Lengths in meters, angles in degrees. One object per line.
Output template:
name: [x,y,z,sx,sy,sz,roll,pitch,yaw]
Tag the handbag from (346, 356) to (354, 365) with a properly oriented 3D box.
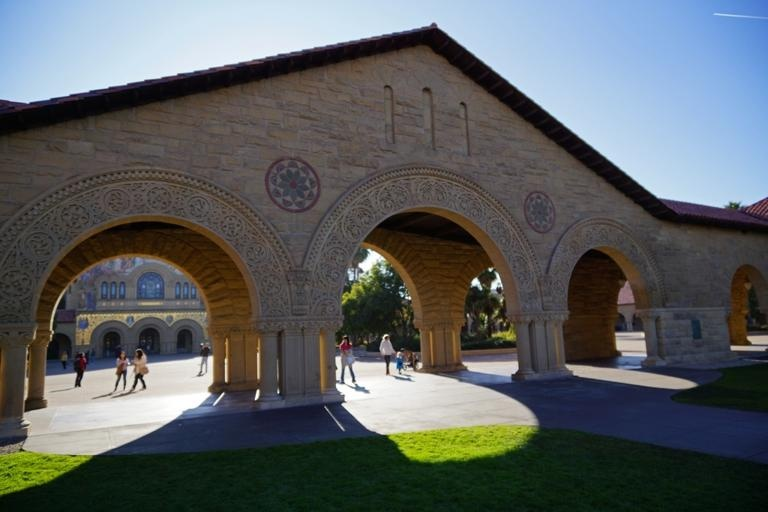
handbag: [-1.189,3.784,18.454,0.224,0.328,0.592,-2,-3,-8]
